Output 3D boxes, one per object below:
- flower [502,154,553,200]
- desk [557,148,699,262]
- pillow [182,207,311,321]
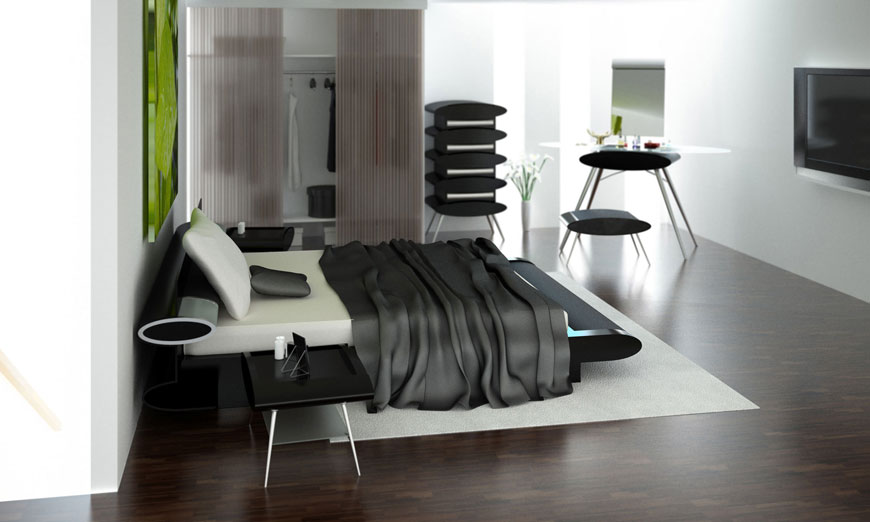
[{"bbox_3d":[1.284,-1.196,8.662,0.744,0.662,0.701,-1,3,-6],"label":"flower"},{"bbox_3d":[2.397,-0.739,7.253,1.584,1.220,1.792,8,19,37],"label":"desk"},{"bbox_3d":[-1.282,0.063,4.001,0.733,0.406,0.929,1,13,-16],"label":"pillow"}]
